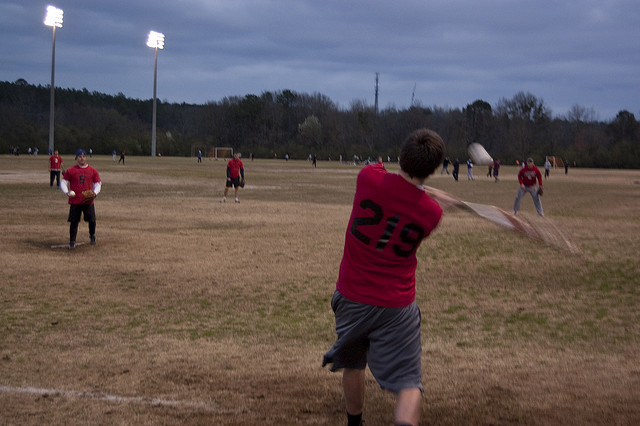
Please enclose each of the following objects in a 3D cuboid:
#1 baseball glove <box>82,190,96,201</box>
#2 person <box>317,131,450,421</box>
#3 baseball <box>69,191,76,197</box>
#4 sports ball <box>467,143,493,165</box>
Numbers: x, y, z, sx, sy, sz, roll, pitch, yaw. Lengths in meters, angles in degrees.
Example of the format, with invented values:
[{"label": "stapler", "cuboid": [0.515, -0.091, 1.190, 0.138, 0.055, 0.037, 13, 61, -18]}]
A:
[{"label": "baseball glove", "cuboid": [-5.640, -0.422, 15.421, 0.299, 0.307, 0.284, -2, 14, -12]}, {"label": "person", "cuboid": [0.785, 0.860, 7.808, 1.266, 3.645, 0.909, 3, 12, 10]}, {"label": "baseball", "cuboid": [-5.979, -0.469, 15.237, 0.103, 0.128, 0.218, 5, 15, 15]}, {"label": "sports ball", "cuboid": [2.082, -0.769, 8.240, 0.311, 0.242, 0.426, 5, 15, 13]}]
